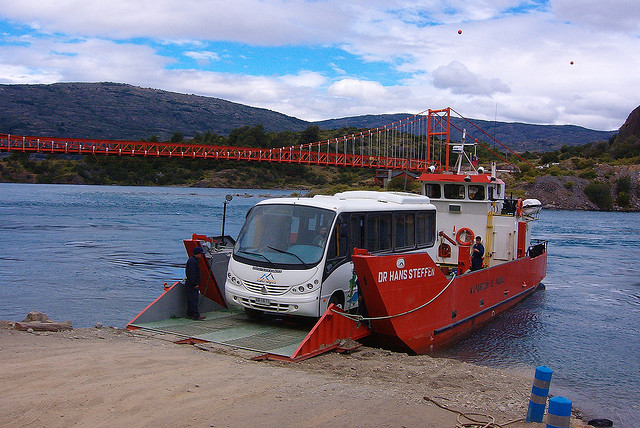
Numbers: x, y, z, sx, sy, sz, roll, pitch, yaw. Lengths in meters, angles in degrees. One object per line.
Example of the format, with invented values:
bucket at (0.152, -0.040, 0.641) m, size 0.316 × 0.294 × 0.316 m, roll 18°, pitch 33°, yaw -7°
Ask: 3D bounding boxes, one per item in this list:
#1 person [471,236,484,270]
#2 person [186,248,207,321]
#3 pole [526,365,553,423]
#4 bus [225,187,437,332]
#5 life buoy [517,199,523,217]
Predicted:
person at (5.150, 1.305, 16.165) m, size 0.379 × 1.055 × 0.371 m, roll 10°, pitch 7°, yaw 16°
person at (-3.209, 1.801, 12.794) m, size 0.493 × 1.852 × 0.626 m, roll 2°, pitch 9°, yaw -41°
pole at (3.900, 3.235, 8.806) m, size 0.277 × 1.230 × 0.722 m, roll 11°, pitch 7°, yaw 25°
bus at (0.549, 1.014, 14.179) m, size 3.355 × 2.953 × 6.470 m, roll 7°, pitch 5°, yaw 37°
life buoy at (7.621, -0.236, 18.918) m, size 0.224 × 0.636 × 0.923 m, roll 11°, pitch 6°, yaw 22°
